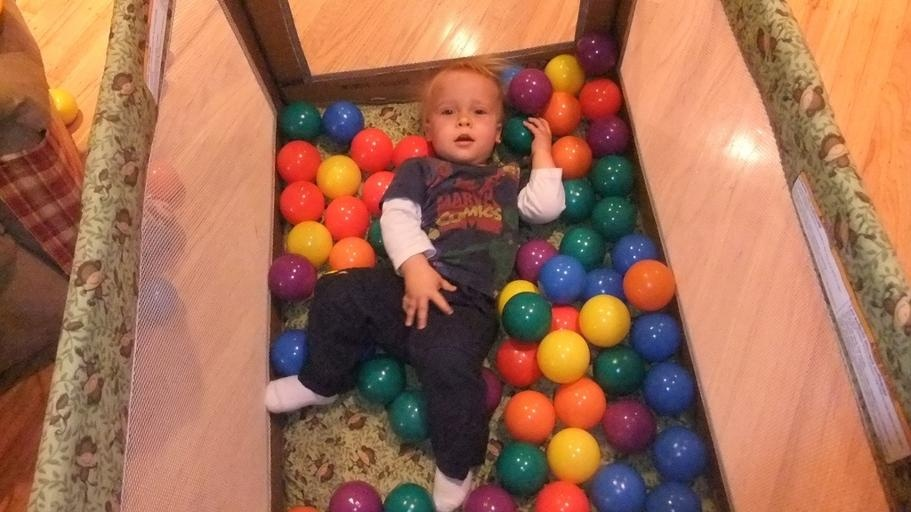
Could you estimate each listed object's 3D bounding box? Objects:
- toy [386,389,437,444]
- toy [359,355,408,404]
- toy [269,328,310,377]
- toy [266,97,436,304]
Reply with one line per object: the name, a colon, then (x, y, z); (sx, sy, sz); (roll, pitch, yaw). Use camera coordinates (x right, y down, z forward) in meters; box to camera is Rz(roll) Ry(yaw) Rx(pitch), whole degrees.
toy: (-0.139, 0.469, 2.119); (0.141, 0.134, 0.141); (16, 58, 13)
toy: (-0.226, 0.375, 2.171); (0.138, 0.136, 0.135); (-8, 84, -5)
toy: (-0.508, 0.301, 2.202); (0.124, 0.123, 0.148); (21, 76, -13)
toy: (-0.409, -0.192, 2.316); (0.613, 0.189, 0.637); (1, 79, -1)
